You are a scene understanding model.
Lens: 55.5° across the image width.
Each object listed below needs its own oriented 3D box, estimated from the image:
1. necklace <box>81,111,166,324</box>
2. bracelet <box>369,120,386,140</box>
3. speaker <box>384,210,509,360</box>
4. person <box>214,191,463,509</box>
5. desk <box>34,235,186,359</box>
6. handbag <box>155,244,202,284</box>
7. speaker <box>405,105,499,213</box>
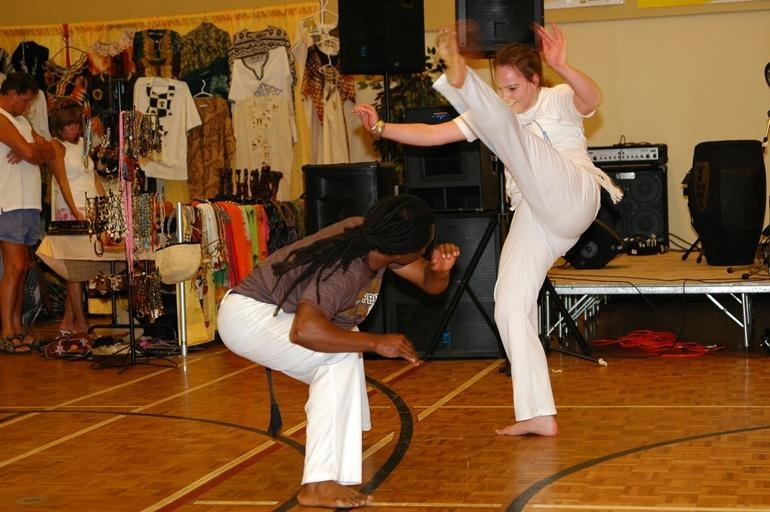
[{"bbox_3d":[-2.005,-0.291,5.791,0.571,1.667,0.558,-7,10,-28],"label":"necklace"},{"bbox_3d":[-0.036,-0.748,4.322,0.088,0.101,0.078,-14,52,-20],"label":"bracelet"},{"bbox_3d":[0.507,0.136,5.989,1.292,1.289,0.971,0,6,1],"label":"speaker"},{"bbox_3d":[-0.245,0.424,3.470,1.099,1.392,0.676,-1,9,7],"label":"person"},{"bbox_3d":[-2.400,0.139,6.360,1.180,0.910,0.807,-2,29,-2],"label":"desk"},{"bbox_3d":[-1.572,0.054,5.594,0.248,0.232,0.333,-2,-12,-27],"label":"handbag"},{"bbox_3d":[0.505,-0.687,5.852,0.802,1.069,0.748,-2,1,17],"label":"speaker"}]
